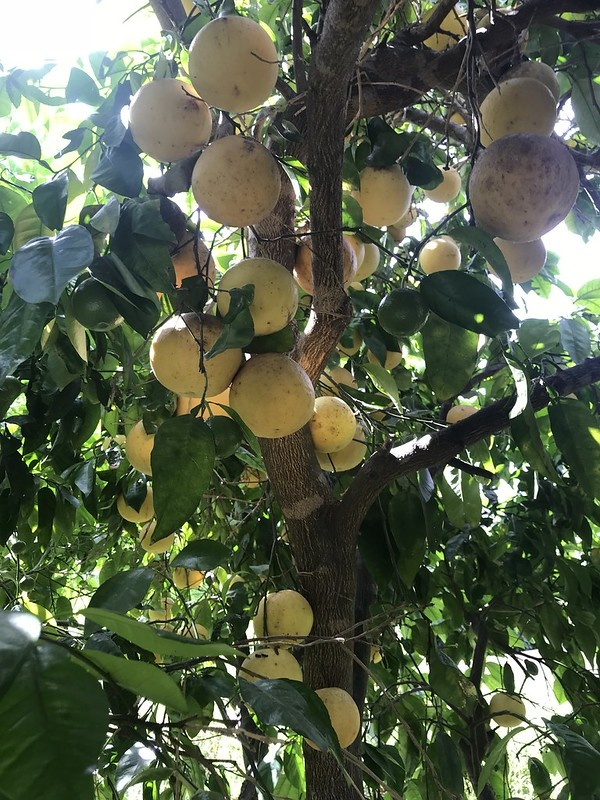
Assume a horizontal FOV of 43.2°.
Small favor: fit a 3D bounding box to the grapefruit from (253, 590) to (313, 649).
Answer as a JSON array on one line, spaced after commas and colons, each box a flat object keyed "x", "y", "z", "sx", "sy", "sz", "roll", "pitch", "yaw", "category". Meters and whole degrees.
[{"x": -0.034, "y": 0.312, "z": 1.095, "sx": 0.079, "sy": 0.082, "sz": 0.079, "roll": 19, "pitch": -12, "yaw": -35, "category": "grapefruit"}]

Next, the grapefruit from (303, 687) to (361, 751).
[{"x": 0.042, "y": 0.429, "z": 1.023, "sx": 0.080, "sy": 0.076, "sz": 0.081, "roll": -4, "pitch": -94, "yaw": 17, "category": "grapefruit"}]
